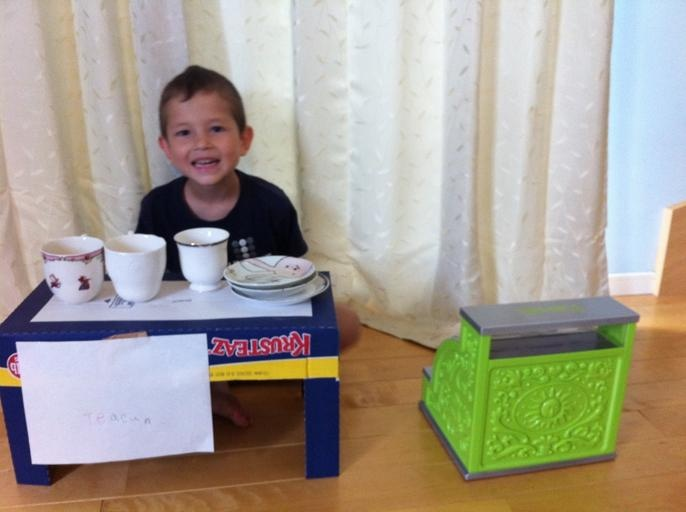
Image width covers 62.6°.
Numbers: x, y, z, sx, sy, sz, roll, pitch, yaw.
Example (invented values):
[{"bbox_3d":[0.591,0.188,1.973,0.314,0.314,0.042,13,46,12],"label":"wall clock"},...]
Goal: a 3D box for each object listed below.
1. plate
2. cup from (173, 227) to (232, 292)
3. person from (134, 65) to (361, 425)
[{"bbox_3d":[-0.155,0.047,1.230,0.134,0.036,0.134,19,25,25],"label":"plate"},{"bbox_3d":[-0.311,0.007,1.310,0.137,0.146,0.136,1,24,-1],"label":"cup"},{"bbox_3d":[-0.375,-0.067,1.547,0.690,0.834,0.613,-17,23,-36],"label":"person"}]
